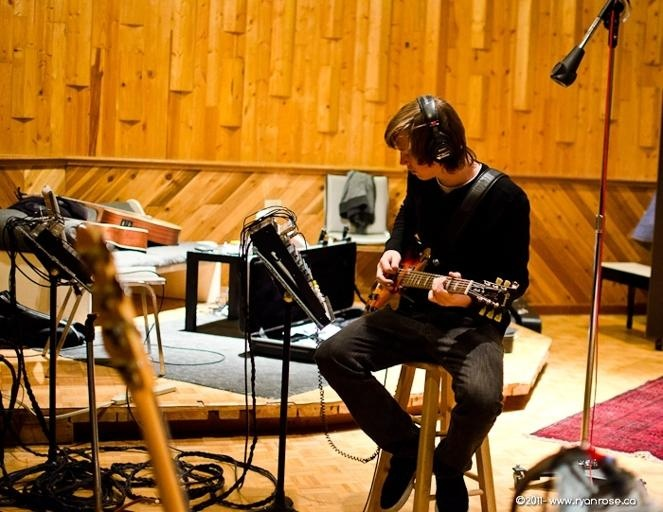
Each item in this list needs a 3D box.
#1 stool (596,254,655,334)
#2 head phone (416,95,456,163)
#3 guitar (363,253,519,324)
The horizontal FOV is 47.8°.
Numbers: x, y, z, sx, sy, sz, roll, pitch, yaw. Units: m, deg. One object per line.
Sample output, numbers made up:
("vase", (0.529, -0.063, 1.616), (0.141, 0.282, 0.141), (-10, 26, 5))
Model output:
("stool", (2.591, 0.195, 6.555), (0.571, 0.739, 1.112), (0, 2, 15))
("head phone", (0.435, -0.544, 3.058), (0.097, 0.283, 0.282), (-15, 15, 18))
("guitar", (0.422, 0.129, 2.975), (0.060, 0.251, 0.504), (29, -8, -34))
